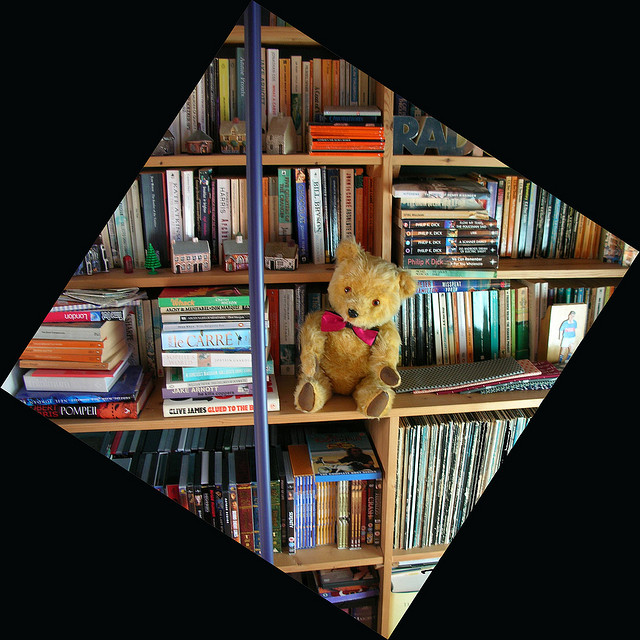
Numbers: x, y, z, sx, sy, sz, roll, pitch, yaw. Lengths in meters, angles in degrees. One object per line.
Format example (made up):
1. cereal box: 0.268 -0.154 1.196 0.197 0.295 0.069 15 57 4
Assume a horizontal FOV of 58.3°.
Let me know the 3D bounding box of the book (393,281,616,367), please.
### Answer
1. book: 0.442 -0.010 1.460 0.623 0.166 0.230 1 -88 -27

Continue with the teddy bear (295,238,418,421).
1. teddy bear: 0.076 0.023 1.260 0.264 0.269 0.359 20 -66 20

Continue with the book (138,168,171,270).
1. book: -0.360 -0.230 1.246 0.053 0.168 0.167 -6 -71 -14

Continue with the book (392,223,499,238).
1. book: 0.279 -0.189 1.235 0.208 0.032 0.019 4 -32 1

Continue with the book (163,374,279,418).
1. book: -0.216 0.124 1.344 0.277 0.199 0.059 0 -67 1

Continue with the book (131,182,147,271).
1. book: -0.396 -0.213 1.251 0.017 0.130 0.181 -10 -67 -17
